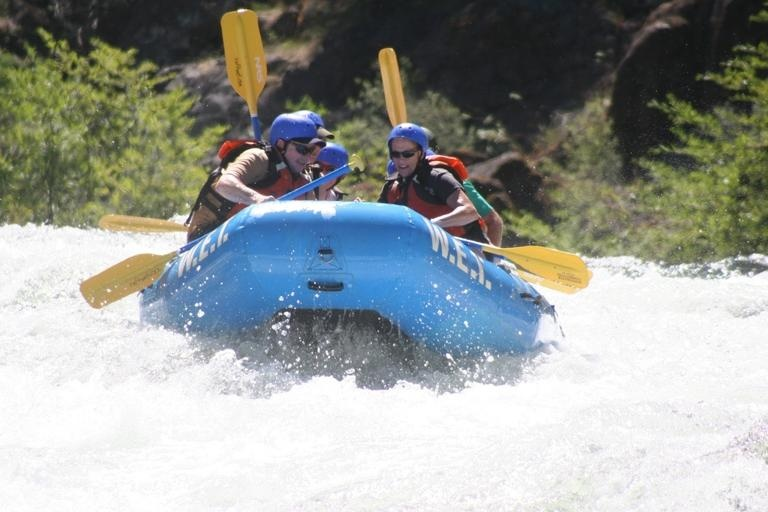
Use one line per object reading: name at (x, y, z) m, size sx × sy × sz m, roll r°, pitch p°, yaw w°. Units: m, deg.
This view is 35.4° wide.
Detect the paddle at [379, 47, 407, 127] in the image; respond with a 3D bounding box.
paddle at (0.078, -2.262, 15.999) m, size 0.309 × 1.232 × 0.137 m, roll -13°, pitch -4°, yaw -8°

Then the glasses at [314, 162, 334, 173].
glasses at (-0.727, -1.069, 14.309) m, size 0.182 × 0.070 × 0.240 m, roll 16°, pitch -5°, yaw 1°

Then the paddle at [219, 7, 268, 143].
paddle at (-1.710, -2.299, 14.834) m, size 0.502 × 1.788 × 0.154 m, roll -12°, pitch 5°, yaw 0°
